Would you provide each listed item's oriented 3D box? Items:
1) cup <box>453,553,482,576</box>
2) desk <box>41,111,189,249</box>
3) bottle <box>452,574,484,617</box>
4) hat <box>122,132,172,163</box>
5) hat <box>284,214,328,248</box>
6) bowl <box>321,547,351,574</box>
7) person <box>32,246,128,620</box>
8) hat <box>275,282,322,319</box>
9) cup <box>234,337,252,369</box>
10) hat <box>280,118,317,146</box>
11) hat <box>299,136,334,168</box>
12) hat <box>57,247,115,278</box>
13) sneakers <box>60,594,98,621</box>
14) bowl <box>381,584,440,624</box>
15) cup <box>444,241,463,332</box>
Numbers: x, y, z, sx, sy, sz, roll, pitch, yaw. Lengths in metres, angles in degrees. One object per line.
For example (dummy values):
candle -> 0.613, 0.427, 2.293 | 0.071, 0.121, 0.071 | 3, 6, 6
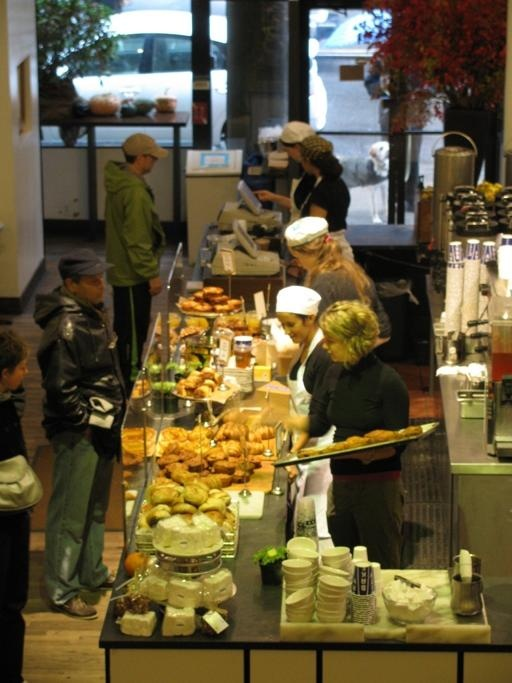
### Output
cup -> 0.532, 0.575, 1.713 | 0.069, 0.071, 0.070 | -2, 5, 0
desk -> -1.985, -2.613, 10.479 | 2.007, 1.701, 1.892 | 0, 21, 2
bottle -> 0.505, 0.624, 1.658 | 0.088, 0.085, 0.087 | 0, -2, -2
hat -> -0.884, -1.569, 5.432 | 0.362, 0.181, 0.211 | -5, 33, -5
hat -> 0.248, -0.555, 3.398 | 0.206, 0.151, 0.171 | 2, 8, 14
bowl -> 0.202, 0.542, 1.670 | 0.064, 0.062, 0.064 | -6, 10, 1
person -> -0.852, 0.429, 3.244 | 0.372, 1.722, 0.466 | 3, 8, 20
hat -> 0.170, -0.167, 2.706 | 0.116, 0.087, 0.158 | 11, -2, 44
cup -> -0.077, 0.051, 3.558 | 0.091, 0.146, 0.134 | 0, 8, -5
hat -> 0.290, -1.511, 4.853 | 0.227, 0.152, 0.300 | -14, 22, -11
hat -> 0.382, -1.260, 4.393 | 0.167, 0.110, 0.204 | 9, -10, -19
hat -> -0.828, -0.364, 3.257 | 0.208, 0.104, 0.155 | -8, 11, 18
sneakers -> -0.831, 1.267, 3.222 | 0.201, 0.078, 0.085 | 5, 13, 12
bowl -> 0.362, 0.625, 1.583 | 0.082, 0.049, 0.079 | -3, 2, 0
cup -> 0.909, -0.246, 3.083 | 0.073, 0.424, 0.132 | 3, 8, 16
